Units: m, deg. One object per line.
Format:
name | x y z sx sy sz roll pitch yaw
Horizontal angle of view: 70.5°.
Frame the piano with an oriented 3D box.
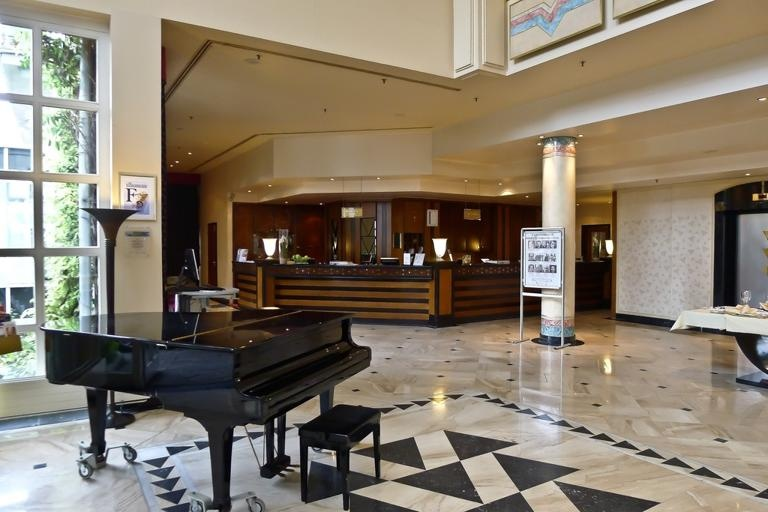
piano | -1.743 1.061 5.134 2.231 1.072 1.937 0 0 24
